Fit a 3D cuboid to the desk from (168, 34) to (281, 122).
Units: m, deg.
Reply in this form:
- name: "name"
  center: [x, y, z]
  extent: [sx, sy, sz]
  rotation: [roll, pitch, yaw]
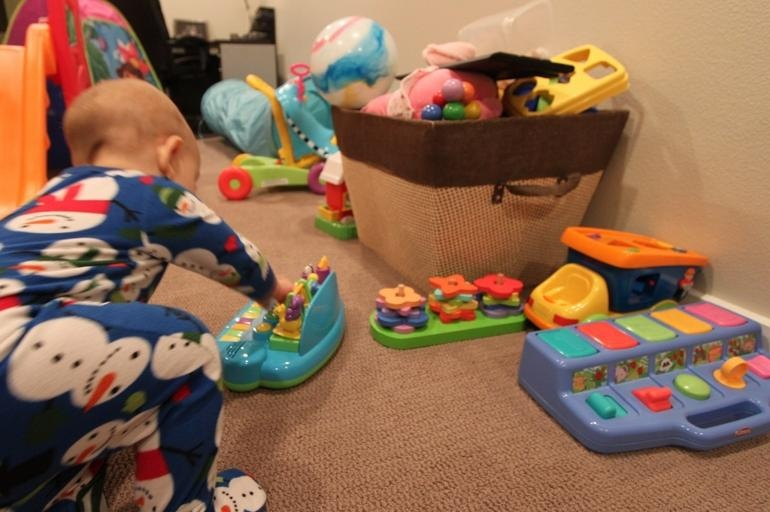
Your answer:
- name: "desk"
  center: [-1.349, -1.305, 4.356]
  extent: [0.869, 0.794, 0.595]
  rotation: [-23, 39, -39]

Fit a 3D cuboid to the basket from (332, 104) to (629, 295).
- name: "basket"
  center: [0.230, -0.156, 1.459]
  extent: [0.471, 0.339, 0.663]
  rotation: [-5, 14, -20]

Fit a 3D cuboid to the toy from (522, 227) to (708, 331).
- name: "toy"
  center: [0.557, 0.048, 1.350]
  extent: [0.363, 0.189, 0.237]
  rotation: [-13, 21, -11]

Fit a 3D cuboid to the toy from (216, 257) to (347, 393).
- name: "toy"
  center: [-0.213, 0.138, 1.227]
  extent: [0.186, 0.121, 0.315]
  rotation: [6, 19, 18]

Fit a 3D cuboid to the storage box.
- name: "storage box"
  center: [0.265, -0.180, 1.497]
  extent: [0.519, 0.376, 0.735]
  rotation: [-5, 18, -20]
